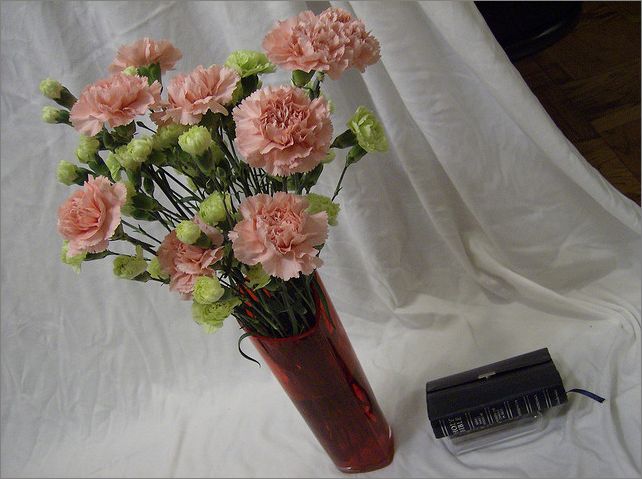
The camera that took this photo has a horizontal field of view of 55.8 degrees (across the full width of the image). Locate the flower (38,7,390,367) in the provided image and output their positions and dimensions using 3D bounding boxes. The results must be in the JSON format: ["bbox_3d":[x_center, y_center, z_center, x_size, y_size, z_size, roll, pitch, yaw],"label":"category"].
[{"bbox_3d":[-0.118,0.012,0.934,0.457,0.602,0.339,1,49,16],"label":"flower"}]
